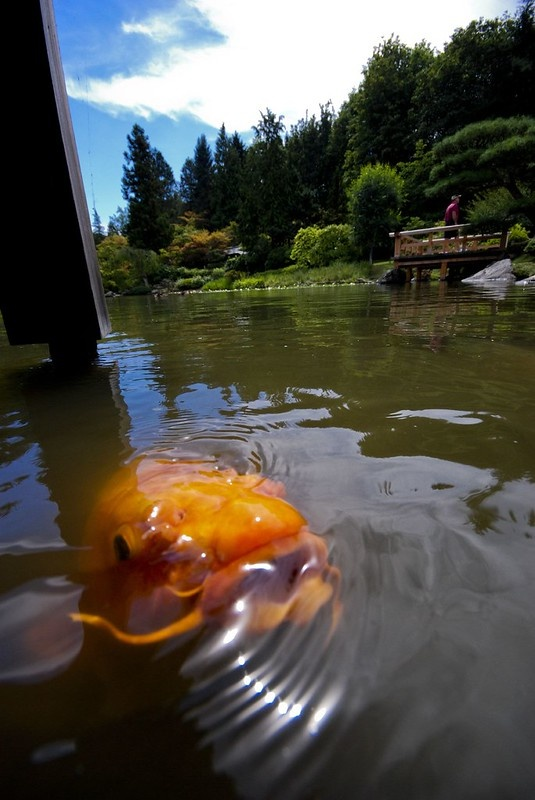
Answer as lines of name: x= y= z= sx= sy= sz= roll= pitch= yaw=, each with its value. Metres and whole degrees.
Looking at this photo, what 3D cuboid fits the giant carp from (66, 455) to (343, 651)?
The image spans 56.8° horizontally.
giant carp: x=-0.215 y=0.359 z=1.417 sx=0.588 sy=0.335 sz=0.920 roll=-7 pitch=5 yaw=-36
